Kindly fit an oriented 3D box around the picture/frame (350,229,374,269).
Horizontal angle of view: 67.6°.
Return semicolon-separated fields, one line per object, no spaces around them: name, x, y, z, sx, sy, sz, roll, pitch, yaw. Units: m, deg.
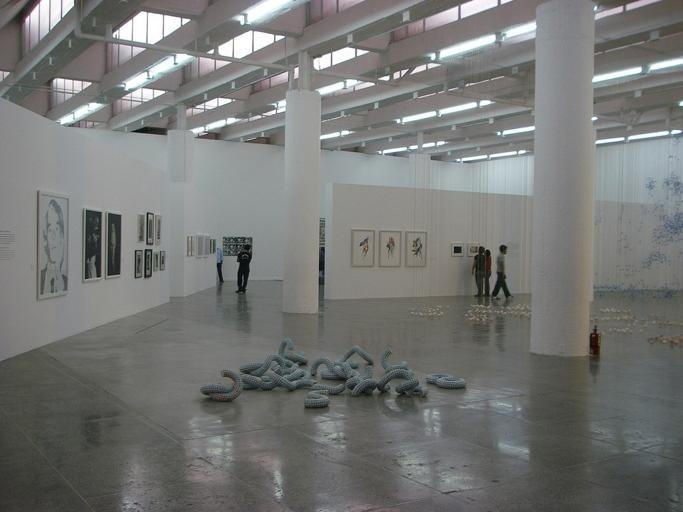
picture/frame;0.850;-0.274;19.479;1.085;1.330;0.254;-1;0;-38

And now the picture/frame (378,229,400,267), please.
picture/frame;1.824;-0.272;19.945;1.326;2.059;0.139;1;-2;-32

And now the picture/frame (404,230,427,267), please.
picture/frame;2.928;-0.269;20.455;1.337;2.017;0.191;1;-2;-27

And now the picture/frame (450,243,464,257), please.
picture/frame;4.747;-0.236;21.082;0.536;0.566;0.059;1;-2;-19

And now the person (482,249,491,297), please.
person;5.900;0.655;20.567;0.315;1.591;0.348;-1;0;7
